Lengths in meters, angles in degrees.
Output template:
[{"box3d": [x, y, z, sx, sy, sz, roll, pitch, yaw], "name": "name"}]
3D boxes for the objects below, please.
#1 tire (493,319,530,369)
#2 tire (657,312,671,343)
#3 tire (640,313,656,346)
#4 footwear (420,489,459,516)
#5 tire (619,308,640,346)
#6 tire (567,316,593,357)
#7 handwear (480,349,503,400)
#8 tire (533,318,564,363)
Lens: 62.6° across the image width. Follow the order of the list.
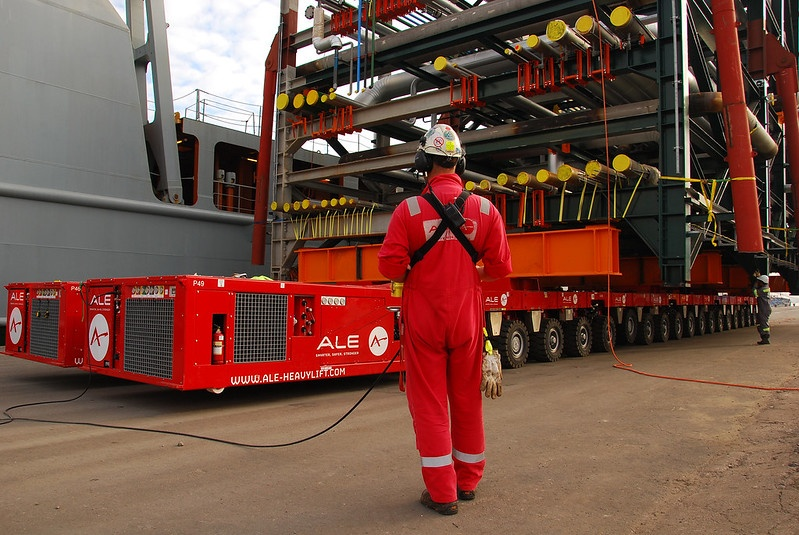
[{"box3d": [2.572, 1.718, 14.834, 0.303, 1.073, 0.965, -4, 4, 43], "name": "tire"}, {"box3d": [8.269, 1.826, 20.567, 0.206, 0.756, 0.691, 1, 21, 32], "name": "tire"}, {"box3d": [7.363, 1.798, 19.472, 0.204, 0.763, 0.693, 1, 19, 34], "name": "tire"}, {"box3d": [0.464, 2.689, 7.606, 0.185, 0.210, 0.401, 5, 3, -41], "name": "footwear"}, {"box3d": [6.529, 1.640, 18.688, 0.282, 1.059, 0.947, -1, 3, 29], "name": "tire"}, {"box3d": [4.620, 1.755, 16.852, 0.312, 1.077, 0.971, -2, 6, 40], "name": "tire"}, {"box3d": [1.059, 1.270, 7.872, 0.257, 0.543, 0.131, 3, -8, -21], "name": "handwear"}, {"box3d": [3.635, 1.724, 15.916, 0.952, 1.075, 0.311, 5, -5, -44], "name": "tire"}]
